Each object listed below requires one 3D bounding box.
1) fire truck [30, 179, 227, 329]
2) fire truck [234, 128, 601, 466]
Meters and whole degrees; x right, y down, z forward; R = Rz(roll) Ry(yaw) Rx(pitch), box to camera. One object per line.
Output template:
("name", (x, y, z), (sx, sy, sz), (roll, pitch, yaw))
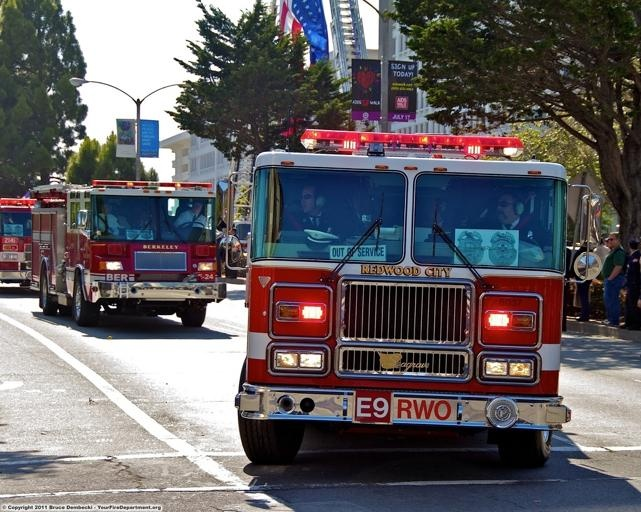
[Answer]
("fire truck", (-4.283, -0.202, 23.755), (2.414, 2.759, 6.366), (-1, 3, -25))
("fire truck", (0.865, 0.340, 13.004), (3.257, 3.398, 6.179), (1, 1, 1))
